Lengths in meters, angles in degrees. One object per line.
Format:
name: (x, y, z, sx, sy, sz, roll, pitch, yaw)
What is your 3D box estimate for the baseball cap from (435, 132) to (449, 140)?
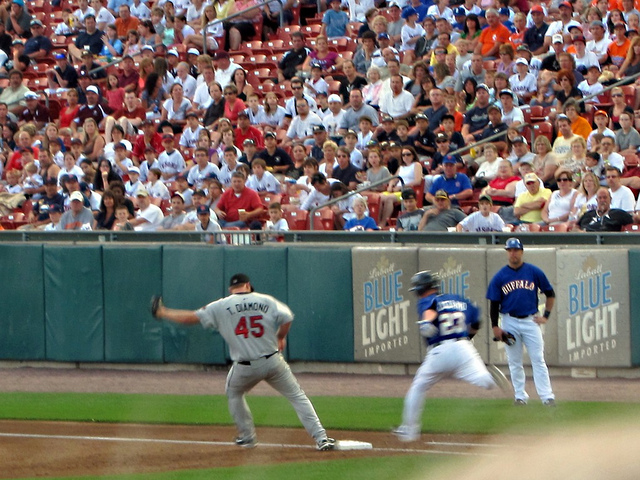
baseball cap: (2.215, -1.894, 27.542, 0.213, 0.127, 0.482, -6, -2, 4)

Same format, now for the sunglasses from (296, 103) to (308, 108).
sunglasses: (-0.367, -2.631, 29.502, 0.234, 0.070, 0.085, -7, -3, 24)

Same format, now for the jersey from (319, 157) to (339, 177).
jersey: (0.149, -1.454, 28.156, 0.433, 0.468, 0.256, -1, -11, 9)

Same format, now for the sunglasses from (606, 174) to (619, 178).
sunglasses: (4.938, -1.077, 25.632, 0.197, 0.053, 0.095, -7, -3, 21)

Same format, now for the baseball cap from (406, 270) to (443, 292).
baseball cap: (1.498, 0.706, 22.618, 0.478, 0.232, 0.364, -8, 3, 15)

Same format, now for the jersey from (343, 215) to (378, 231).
jersey: (0.720, -0.396, 26.834, 0.529, 0.476, 0.241, 1, 4, 14)

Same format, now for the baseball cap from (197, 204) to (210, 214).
baseball cap: (-2.103, -0.539, 27.207, 0.217, 0.135, 0.169, -5, -2, -6)

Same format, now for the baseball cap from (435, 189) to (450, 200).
baseball cap: (2.101, -0.783, 26.314, 0.178, 0.097, 0.132, 20, 9, 28)

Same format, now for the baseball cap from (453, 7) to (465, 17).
baseball cap: (2.777, -4.634, 30.658, 0.167, 0.173, 0.322, -4, -3, -27)

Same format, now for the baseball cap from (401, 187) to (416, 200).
baseball cap: (1.557, -0.810, 26.562, 0.234, 0.180, 0.240, -6, -2, 4)

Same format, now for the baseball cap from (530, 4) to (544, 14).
baseball cap: (4.249, -4.546, 29.702, 0.220, 0.180, 0.382, -6, -2, 9)

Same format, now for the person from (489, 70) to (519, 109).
person: (3.417, -2.795, 28.262, 0.723, 0.748, 0.434, -1, -3, 26)

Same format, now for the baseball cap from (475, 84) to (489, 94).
baseball cap: (3.021, -2.819, 28.209, 0.245, 0.170, 0.349, -6, -2, 7)

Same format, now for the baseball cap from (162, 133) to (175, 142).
baseball cap: (-2.998, -2.012, 29.777, 0.222, 0.142, 0.296, -5, -2, -6)

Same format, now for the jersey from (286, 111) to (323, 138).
jersey: (-0.290, -2.220, 29.641, 0.744, 0.685, 0.436, 6, 4, 24)

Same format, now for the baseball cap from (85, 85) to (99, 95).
baseball cap: (-4.831, -3.185, 31.945, 0.248, 0.154, 0.280, -6, -2, -3)

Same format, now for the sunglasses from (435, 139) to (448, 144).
sunglasses: (2.195, -1.786, 27.368, 0.229, 0.070, 0.115, -7, -3, 27)

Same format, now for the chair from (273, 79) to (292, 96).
chair: (-0.795, -3.190, 31.639, 0.255, 0.347, 0.370, -11, -30, 25)

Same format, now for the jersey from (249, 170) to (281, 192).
jersey: (-1.050, -1.051, 28.224, 0.599, 0.537, 0.350, -1, 7, 5)

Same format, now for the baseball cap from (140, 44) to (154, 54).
baseball cap: (-3.777, -4.191, 33.082, 0.306, 0.162, 0.472, 0, 0, 0)

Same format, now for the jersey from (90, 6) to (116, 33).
jersey: (-5.068, -5.185, 35.066, 0.502, 0.599, 0.519, -17, 34, -1)

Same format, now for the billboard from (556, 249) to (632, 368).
billboard: (4.548, 1.155, 25.210, 1.257, 1.815, 0.253, -5, -2, 7)

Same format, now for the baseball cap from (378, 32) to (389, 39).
baseball cap: (1.263, -4.140, 30.377, 0.160, 0.134, 0.282, -2, -7, 8)

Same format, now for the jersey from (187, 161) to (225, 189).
jersey: (-2.167, -1.331, 29.009, 0.811, 0.679, 0.441, -5, 2, 26)

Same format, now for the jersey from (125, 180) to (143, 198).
jersey: (-3.558, -0.956, 28.930, 0.137, 0.272, 0.260, 16, 5, -45)

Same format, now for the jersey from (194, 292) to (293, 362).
jersey: (-1.094, 1.311, 22.481, 1.350, 0.823, 0.266, -5, -2, -5)

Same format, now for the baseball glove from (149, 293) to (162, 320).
baseball glove: (-2.587, 1.059, 23.749, 0.197, 0.536, 0.168, 5, -8, 3)

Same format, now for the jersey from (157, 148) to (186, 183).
jersey: (-2.942, -1.386, 29.766, 0.633, 0.798, 0.284, -6, -24, 20)

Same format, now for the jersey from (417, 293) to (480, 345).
jersey: (1.898, 1.135, 22.438, 0.697, 0.836, 0.606, -1, 1, 25)

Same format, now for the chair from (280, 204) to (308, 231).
chair: (-0.453, -0.379, 27.433, 0.379, 0.553, 0.465, -16, -12, 3)

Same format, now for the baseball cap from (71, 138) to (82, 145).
baseball cap: (-4.839, -1.946, 30.082, 0.186, 0.157, 0.328, 2, 3, 4)

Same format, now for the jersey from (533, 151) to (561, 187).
jersey: (3.988, -1.221, 26.541, 0.517, 0.558, 0.289, -7, -11, 41)

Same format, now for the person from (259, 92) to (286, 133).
person: (-0.959, -2.516, 30.279, 0.598, 1.066, 0.735, -1, 24, 1)

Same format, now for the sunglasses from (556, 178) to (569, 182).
sunglasses: (4.146, -1.022, 25.905, 0.182, 0.063, 0.053, -8, -3, 39)

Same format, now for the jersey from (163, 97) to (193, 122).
jersey: (-2.931, -2.680, 31.538, 0.702, 0.762, 0.421, 1, 1, 6)

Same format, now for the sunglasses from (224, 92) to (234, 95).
sunglasses: (-1.853, -2.952, 30.334, 0.188, 0.064, 0.062, -7, -3, 26)

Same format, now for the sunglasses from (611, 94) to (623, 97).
sunglasses: (5.333, -2.604, 27.218, 0.056, 0.048, 0.225, -3, -4, -41)

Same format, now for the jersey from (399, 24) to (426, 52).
jersey: (1.817, -4.193, 30.981, 0.608, 0.764, 0.480, -2, -1, -8)

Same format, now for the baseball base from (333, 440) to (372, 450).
baseball base: (0.489, 3.097, 22.562, 0.564, 0.124, 0.229, -6, -2, -1)

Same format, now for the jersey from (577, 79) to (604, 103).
jersey: (4.999, -2.746, 27.900, 0.417, 0.480, 0.257, 0, -36, -18)

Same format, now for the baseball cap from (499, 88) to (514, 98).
baseball cap: (3.439, -2.732, 27.968, 0.265, 0.166, 0.353, -6, -2, 8)

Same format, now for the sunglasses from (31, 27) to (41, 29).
sunglasses: (-6.672, -5.000, 35.526, 0.204, 0.046, 0.108, -6, -2, -9)

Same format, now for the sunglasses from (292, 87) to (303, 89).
sunglasses: (-0.448, -3.027, 30.041, 0.175, 0.042, 0.090, -6, -2, -10)

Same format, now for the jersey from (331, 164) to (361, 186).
jersey: (0.468, -1.186, 27.865, 0.586, 0.501, 0.331, 0, -9, 31)

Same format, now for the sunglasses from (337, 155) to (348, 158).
sunglasses: (0.391, -1.536, 27.754, 0.161, 0.043, 0.057, -6, -2, 11)

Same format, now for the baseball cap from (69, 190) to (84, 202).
baseball cap: (-4.533, -0.798, 28.170, 0.238, 0.166, 0.327, -5, -2, -12)

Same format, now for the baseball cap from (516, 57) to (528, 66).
baseball cap: (3.826, -3.400, 28.708, 0.217, 0.144, 0.206, -6, -2, 7)

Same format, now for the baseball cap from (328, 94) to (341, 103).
baseball cap: (0.274, -2.793, 29.698, 0.191, 0.164, 0.204, 0, 7, -1)

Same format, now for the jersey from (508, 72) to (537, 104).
jersey: (3.854, -2.936, 28.944, 0.593, 0.600, 0.328, 6, -6, 20)

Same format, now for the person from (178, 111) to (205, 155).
person: (-2.592, -2.140, 30.152, 0.550, 0.819, 0.772, 4, 21, 8)

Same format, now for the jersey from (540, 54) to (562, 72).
jersey: (4.406, -3.383, 28.858, 0.384, 0.393, 0.139, 2, 2, 6)

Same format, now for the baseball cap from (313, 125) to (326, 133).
baseball cap: (-0.023, -2.120, 28.751, 0.206, 0.126, 0.319, -6, -2, 0)

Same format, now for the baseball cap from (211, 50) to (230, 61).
baseball cap: (-2.139, -3.833, 31.591, 0.358, 0.214, 0.270, 11, 23, 8)
